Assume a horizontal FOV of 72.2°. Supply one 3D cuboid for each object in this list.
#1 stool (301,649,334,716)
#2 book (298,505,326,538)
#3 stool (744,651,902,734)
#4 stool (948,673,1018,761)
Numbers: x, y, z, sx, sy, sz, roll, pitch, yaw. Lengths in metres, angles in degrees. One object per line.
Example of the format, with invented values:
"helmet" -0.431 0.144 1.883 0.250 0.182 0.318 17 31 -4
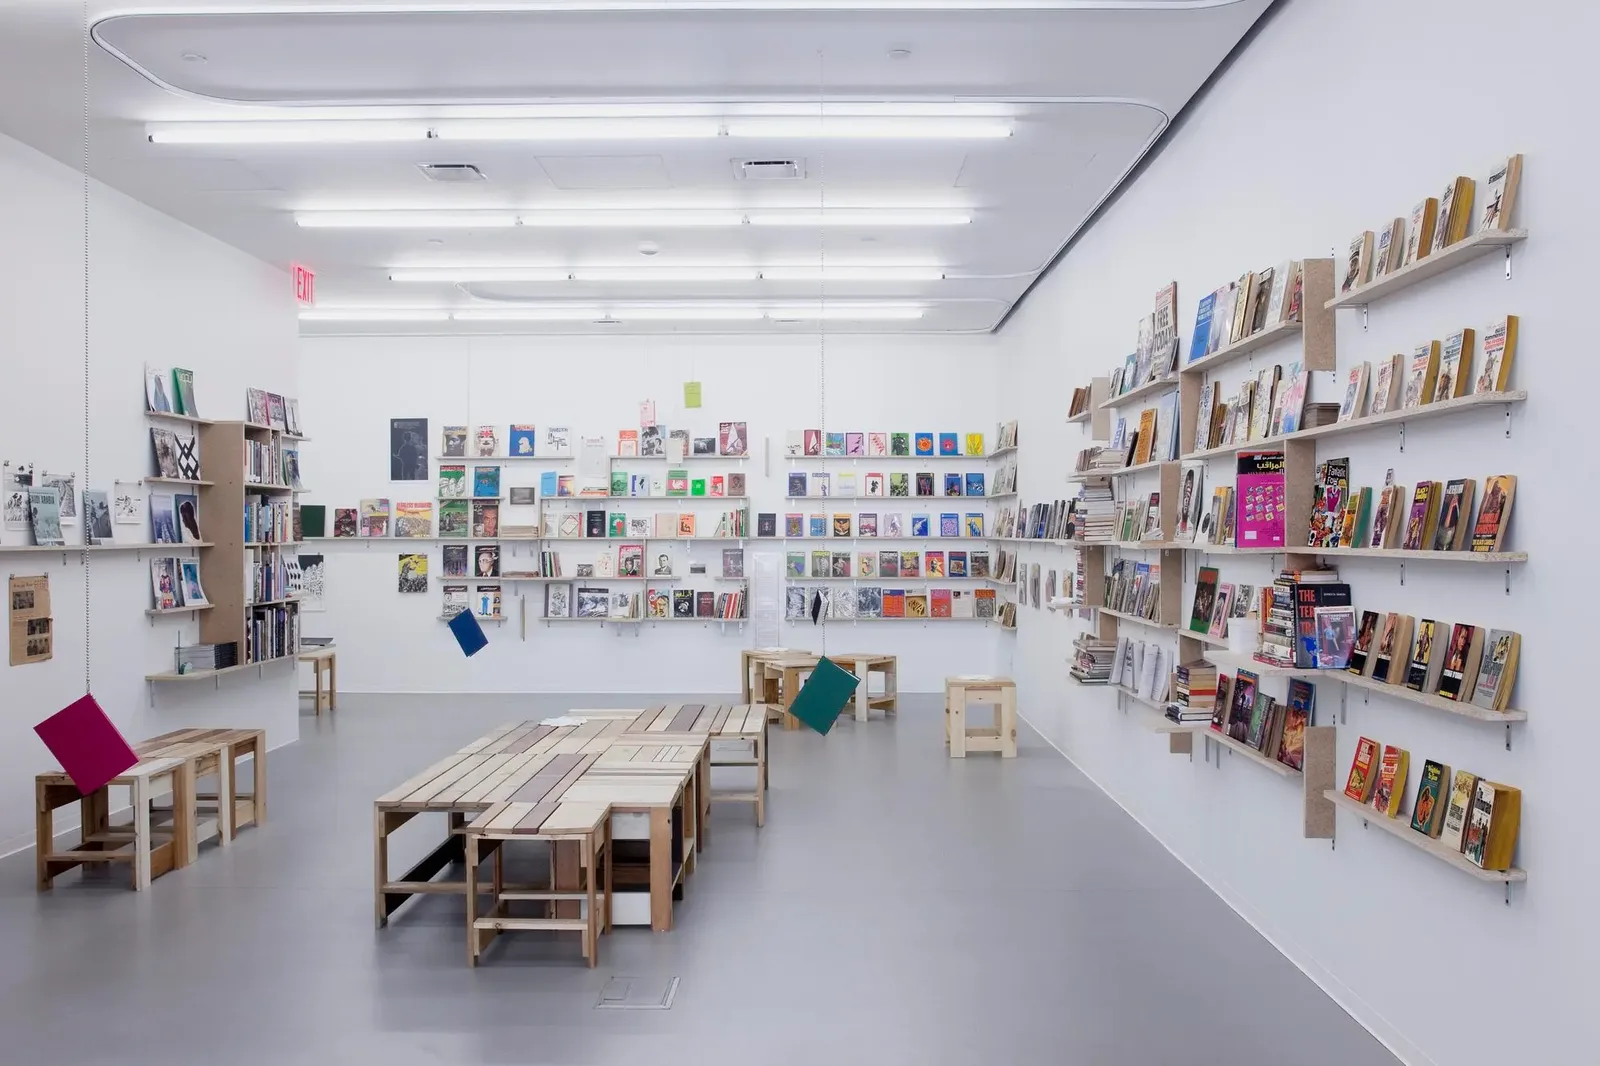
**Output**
"stool" -4.864 1.376 11.088 0.245 0.684 1.165 -4 11 -21
"book" -5.208 -0.134 11.628 0.336 0.469 0.045 -1 -8 -12
"stool" 0.175 1.373 10.499 0.931 0.439 0.909 1 -2 -18
"stool" 1.539 1.534 9.345 0.625 0.628 0.643 -1 -6 -1
